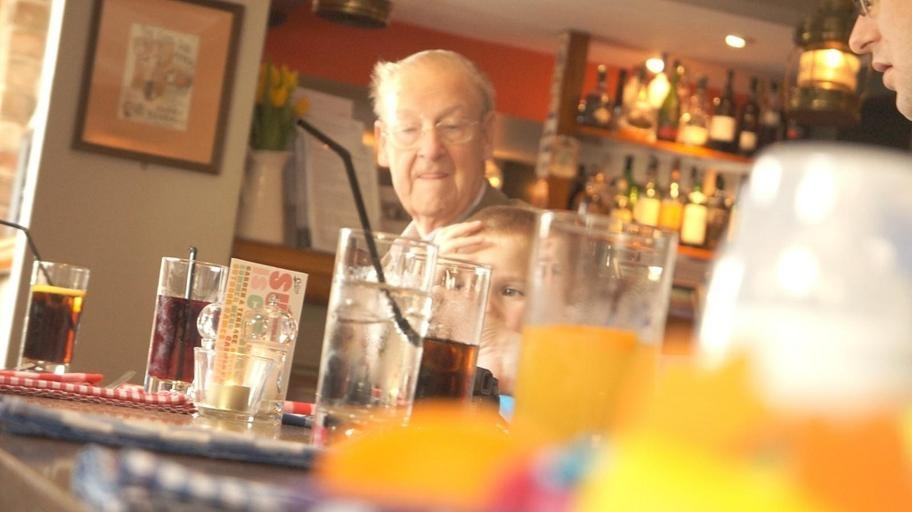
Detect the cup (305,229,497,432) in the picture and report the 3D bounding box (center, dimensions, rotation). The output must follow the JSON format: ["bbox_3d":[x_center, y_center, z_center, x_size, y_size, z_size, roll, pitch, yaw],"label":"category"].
[{"bbox_3d":[-0.046,0.082,0.939,0.186,0.211,0.108,7,0,-13],"label":"cup"}]

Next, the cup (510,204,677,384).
[{"bbox_3d":[0.135,0.028,0.796,0.135,0.136,0.084,7,0,4],"label":"cup"}]

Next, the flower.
[{"bbox_3d":[-0.604,-0.517,2.978,0.167,0.306,0.349,8,0,-13],"label":"flower"}]
